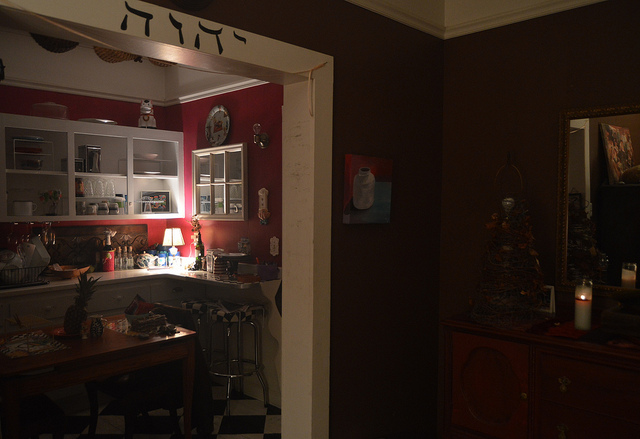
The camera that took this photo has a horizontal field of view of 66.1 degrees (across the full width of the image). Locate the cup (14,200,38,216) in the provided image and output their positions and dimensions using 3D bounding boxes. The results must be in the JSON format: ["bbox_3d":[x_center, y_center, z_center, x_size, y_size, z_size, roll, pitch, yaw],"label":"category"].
[{"bbox_3d":[-2.765,-0.110,4.630,0.123,0.121,0.166,-4,-5,42],"label":"cup"}]

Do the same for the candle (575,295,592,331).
[{"bbox_3d":[1.582,0.555,2.979,0.084,0.213,0.103,0,1,29],"label":"candle"}]

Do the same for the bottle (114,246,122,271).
[{"bbox_3d":[-2.185,0.420,5.324,0.076,0.218,0.254,-1,1,-23],"label":"bottle"}]

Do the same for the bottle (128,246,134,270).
[{"bbox_3d":[-2.067,0.415,5.378,0.057,0.222,0.199,-1,1,-21],"label":"bottle"}]

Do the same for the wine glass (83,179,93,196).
[{"bbox_3d":[-2.397,-0.333,5.091,0.083,0.170,0.053,-1,1,-31],"label":"wine glass"}]

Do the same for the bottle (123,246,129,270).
[{"bbox_3d":[-2.112,0.416,5.349,0.058,0.224,0.221,-1,1,-23],"label":"bottle"}]

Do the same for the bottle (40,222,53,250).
[{"bbox_3d":[-2.715,0.162,4.887,0.110,0.275,0.170,-1,1,-29],"label":"bottle"}]

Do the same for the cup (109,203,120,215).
[{"bbox_3d":[-2.192,-0.117,5.269,0.087,0.121,0.170,0,2,18],"label":"cup"}]

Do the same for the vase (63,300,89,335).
[{"bbox_3d":[-1.686,0.666,3.413,0.131,0.247,0.129,14,-2,-34],"label":"vase"}]

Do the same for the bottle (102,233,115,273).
[{"bbox_3d":[-2.224,0.405,5.184,0.122,0.265,0.113,-1,1,0],"label":"bottle"}]

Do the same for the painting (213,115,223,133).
[{"bbox_3d":[-1.085,-0.997,5.214,0.034,0.138,0.144,3,5,-34],"label":"painting"}]

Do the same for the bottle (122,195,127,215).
[{"bbox_3d":[-2.148,-0.165,5.412,0.045,0.186,0.036,-1,1,-21],"label":"bottle"}]

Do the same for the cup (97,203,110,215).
[{"bbox_3d":[-2.274,-0.109,5.159,0.107,0.107,0.108,4,-6,0],"label":"cup"}]

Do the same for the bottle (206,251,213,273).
[{"bbox_3d":[-1.073,0.410,4.785,0.049,0.183,0.269,-1,2,-14],"label":"bottle"}]

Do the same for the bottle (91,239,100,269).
[{"bbox_3d":[-2.374,0.364,5.198,0.079,0.297,0.186,-1,1,-25],"label":"bottle"}]
